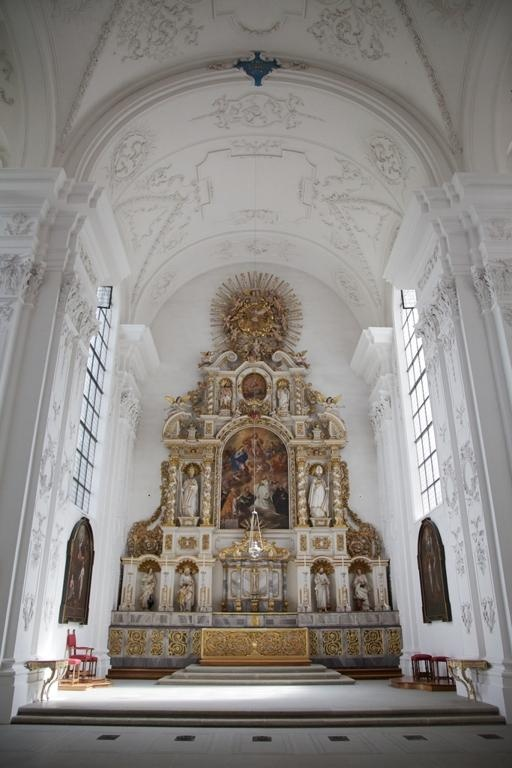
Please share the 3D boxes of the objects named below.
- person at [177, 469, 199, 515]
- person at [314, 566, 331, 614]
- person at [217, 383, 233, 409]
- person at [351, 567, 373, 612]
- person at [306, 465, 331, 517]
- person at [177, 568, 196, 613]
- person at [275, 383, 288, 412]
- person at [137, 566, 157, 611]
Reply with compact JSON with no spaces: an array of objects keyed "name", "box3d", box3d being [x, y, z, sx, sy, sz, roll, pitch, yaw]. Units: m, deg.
[{"name":"person","box3d":[-1.564,2.494,12.099,0.472,1.370,0.439,-2,-25,1]},{"name":"person","box3d":[1.400,4.386,11.168,0.359,0.904,0.433,-4,-25,5]},{"name":"person","box3d":[-0.773,0.316,13.045,0.320,0.740,0.150,1,-25,-7]},{"name":"person","box3d":[2.243,4.401,11.184,0.415,0.862,0.470,-7,-25,11]},{"name":"person","box3d":[1.420,2.502,12.075,0.519,1.311,0.352,-5,-25,8]},{"name":"person","box3d":[-1.500,4.374,11.120,0.369,0.860,0.282,3,-25,-10]},{"name":"person","box3d":[0.660,0.327,13.014,0.335,0.832,0.159,-2,-25,0]},{"name":"person","box3d":[-2.325,4.383,11.194,0.359,0.872,0.304,4,-25,-11]}]
